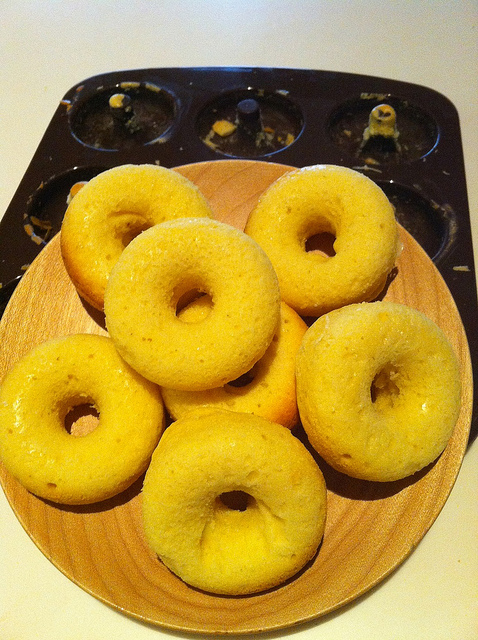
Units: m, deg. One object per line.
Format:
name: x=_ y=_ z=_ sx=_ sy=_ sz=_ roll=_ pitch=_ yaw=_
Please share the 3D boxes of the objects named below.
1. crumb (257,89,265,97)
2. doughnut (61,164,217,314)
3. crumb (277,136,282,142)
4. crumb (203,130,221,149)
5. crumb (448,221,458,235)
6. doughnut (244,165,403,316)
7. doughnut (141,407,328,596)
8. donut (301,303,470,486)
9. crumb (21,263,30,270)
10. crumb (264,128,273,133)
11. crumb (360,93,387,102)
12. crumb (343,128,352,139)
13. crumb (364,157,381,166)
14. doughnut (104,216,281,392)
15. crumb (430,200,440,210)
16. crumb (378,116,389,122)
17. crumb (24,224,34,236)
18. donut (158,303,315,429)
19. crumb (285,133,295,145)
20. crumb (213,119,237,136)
crumb: x=0.041 y=-0.424 z=1.408 sx=0.013 sy=0.003 sz=0.011 roll=3 pitch=88 yaw=7
doughnut: x=-0.148 y=-0.099 z=0.969 sx=0.221 sy=0.072 sz=0.179 roll=-3 pitch=91 yaw=2
crumb: x=0.075 y=-0.332 z=1.378 sx=0.009 sy=0.003 sz=0.007 roll=4 pitch=79 yaw=-4
crumb: x=-0.053 y=-0.331 z=1.380 sx=0.039 sy=0.010 sz=0.030 roll=-6 pitch=69 yaw=-28
crumb: x=0.354 y=-0.153 z=1.235 sx=0.020 sy=0.006 sz=0.016 roll=3 pitch=78 yaw=9
doughnut: x=0.115 y=-0.122 z=1.034 sx=0.194 sy=0.064 sz=0.171 roll=-3 pitch=37 yaw=-46
doughnut: x=-0.016 y=0.214 z=0.876 sx=0.232 sy=0.077 sz=0.175 roll=-13 pitch=76 yaw=-20
donut: x=0.144 y=0.091 z=0.937 sx=0.234 sy=0.081 sz=0.203 roll=-21 pitch=92 yaw=-18
crumb: x=-0.354 y=-0.088 z=1.242 sx=0.016 sy=0.005 sz=0.014 roll=-4 pitch=49 yaw=30
crumb: x=0.055 y=-0.351 z=1.389 sx=0.014 sy=0.004 sz=0.011 roll=4 pitch=62 yaw=-11
crumb: x=0.250 y=-0.412 z=1.389 sx=0.031 sy=0.007 sz=0.009 roll=15 pitch=40 yaw=8
crumb: x=0.201 y=-0.342 z=1.379 sx=0.017 sy=0.005 sz=0.014 roll=9 pitch=71 yaw=7
crumb: x=0.234 y=-0.279 z=1.321 sx=0.018 sy=0.005 sz=0.018 roll=33 pitch=38 yaw=22
doughnut: x=-0.053 y=-0.018 z=0.863 sx=0.227 sy=0.076 sz=0.185 roll=2 pitch=88 yaw=-2
crumb: x=0.326 y=-0.192 z=1.250 sx=0.013 sy=0.011 sz=0.003 roll=37 pitch=106 yaw=18
crumb: x=0.252 y=-0.351 z=1.307 sx=0.017 sy=0.006 sz=0.010 roll=24 pitch=60 yaw=19
crumb: x=-0.359 y=-0.153 z=1.281 sx=0.020 sy=0.006 sz=0.016 roll=2 pitch=69 yaw=2
donut: x=0.014 y=0.049 z=0.896 sx=0.191 sy=0.062 sz=0.154 roll=3 pitch=81 yaw=-6
crumb: x=0.093 y=-0.330 z=1.372 sx=0.024 sy=0.007 sz=0.020 roll=-6 pitch=76 yaw=10
crumb: x=-0.028 y=-0.355 z=1.392 sx=0.042 sy=0.009 sz=0.036 roll=10 pitch=55 yaw=10
